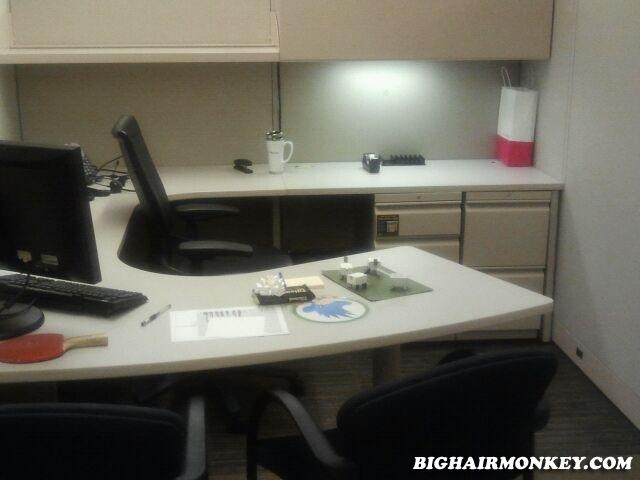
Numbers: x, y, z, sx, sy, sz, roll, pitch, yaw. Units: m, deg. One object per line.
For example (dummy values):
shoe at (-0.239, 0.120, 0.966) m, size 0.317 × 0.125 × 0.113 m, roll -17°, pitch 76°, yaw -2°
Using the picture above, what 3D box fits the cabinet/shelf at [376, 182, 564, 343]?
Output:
cabinet/shelf at (0.870, 0.006, 3.527) m, size 1.550 × 1.254 × 0.544 m, roll 0°, pitch 7°, yaw 2°

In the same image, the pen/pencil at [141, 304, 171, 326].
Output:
pen/pencil at (-0.539, 0.247, 1.852) m, size 0.027 × 0.024 × 0.132 m, roll 17°, pitch 25°, yaw 15°

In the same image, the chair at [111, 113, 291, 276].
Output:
chair at (-0.512, -0.214, 3.032) m, size 0.924 × 1.074 × 0.854 m, roll -3°, pitch 20°, yaw -8°

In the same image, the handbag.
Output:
handbag at (1.281, -0.738, 3.662) m, size 0.178 × 0.483 × 0.314 m, roll -1°, pitch 23°, yaw 3°
